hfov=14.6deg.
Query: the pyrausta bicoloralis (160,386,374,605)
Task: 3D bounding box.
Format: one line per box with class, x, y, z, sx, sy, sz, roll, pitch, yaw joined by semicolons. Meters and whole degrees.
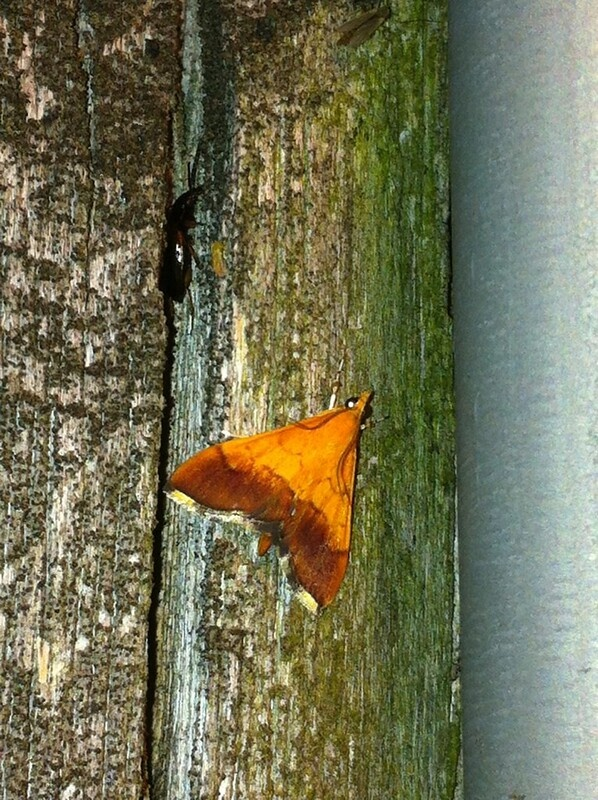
pyrausta bicoloralis;-0.011;0.091;2.212;0.166;0.045;0.181;41;77;-4
